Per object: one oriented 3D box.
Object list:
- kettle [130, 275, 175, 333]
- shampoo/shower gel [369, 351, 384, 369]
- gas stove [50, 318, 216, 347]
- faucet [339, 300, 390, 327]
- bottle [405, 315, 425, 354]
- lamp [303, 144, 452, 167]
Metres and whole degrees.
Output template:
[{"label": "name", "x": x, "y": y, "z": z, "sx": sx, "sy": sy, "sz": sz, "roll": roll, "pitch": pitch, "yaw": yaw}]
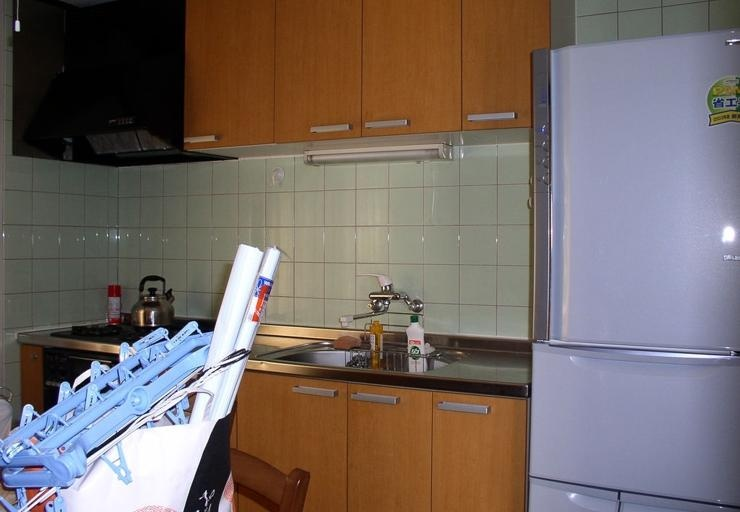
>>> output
[{"label": "kettle", "x": -1.197, "y": 0.258, "z": 3.522, "sx": 0.237, "sy": 0.330, "sz": 0.346, "roll": -1, "pitch": -6, "yaw": 3}, {"label": "shampoo/shower gel", "x": 0.036, "y": 0.498, "z": 2.957, "sx": 0.064, "sy": 0.130, "sz": 0.065, "roll": -5, "pitch": -11, "yaw": 39}, {"label": "gas stove", "x": -1.347, "y": 0.392, "z": 3.427, "sx": 0.860, "sy": 0.140, "sz": 0.615, "roll": 3, "pitch": -1, "yaw": 19}, {"label": "faucet", "x": 0.005, "y": 0.275, "z": 3.085, "sx": 0.104, "sy": 0.137, "sz": 0.385, "roll": -4, "pitch": 0, "yaw": 40}, {"label": "bottle", "x": 0.223, "y": 0.376, "z": 2.931, "sx": 0.090, "sy": 0.161, "sz": 0.107, "roll": 3, "pitch": -1, "yaw": 4}, {"label": "lamp", "x": 0.027, "y": -0.499, "z": 2.967, "sx": 0.513, "sy": 0.057, "sz": 0.088, "roll": 3, "pitch": 42, "yaw": 27}]
